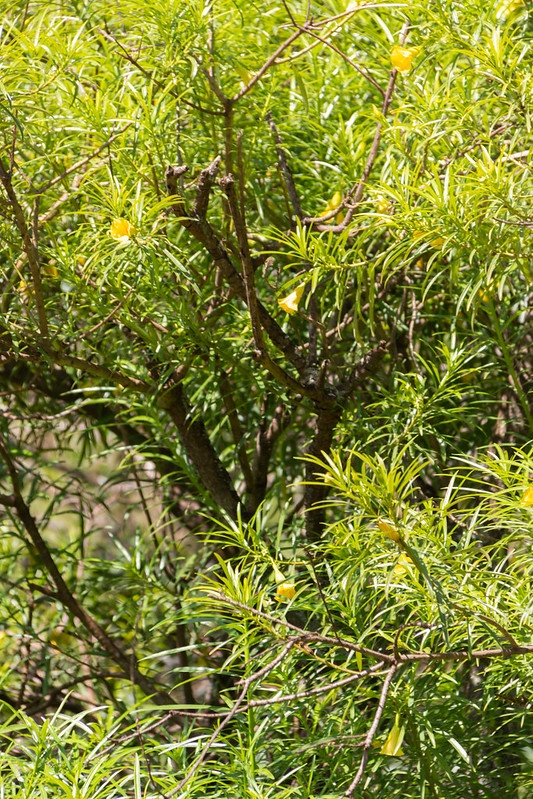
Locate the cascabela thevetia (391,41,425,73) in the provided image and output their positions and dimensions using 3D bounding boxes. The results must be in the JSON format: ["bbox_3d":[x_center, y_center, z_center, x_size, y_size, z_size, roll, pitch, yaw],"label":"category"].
[{"bbox_3d":[0.134,-0.331,0.943,0.033,0.031,0.013,-2,14,4],"label":"cascabela thevetia"}]

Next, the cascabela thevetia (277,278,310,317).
[{"bbox_3d":[0.033,-0.102,0.931,0.029,0.018,0.037,28,73,19],"label":"cascabela thevetia"}]

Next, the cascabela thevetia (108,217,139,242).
[{"bbox_3d":[-0.138,-0.163,0.936,0.030,0.021,0.013,-20,7,33],"label":"cascabela thevetia"}]

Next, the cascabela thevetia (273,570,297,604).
[{"bbox_3d":[0.019,0.176,0.922,0.016,0.039,0.024,-29,53,-7],"label":"cascabela thevetia"}]
